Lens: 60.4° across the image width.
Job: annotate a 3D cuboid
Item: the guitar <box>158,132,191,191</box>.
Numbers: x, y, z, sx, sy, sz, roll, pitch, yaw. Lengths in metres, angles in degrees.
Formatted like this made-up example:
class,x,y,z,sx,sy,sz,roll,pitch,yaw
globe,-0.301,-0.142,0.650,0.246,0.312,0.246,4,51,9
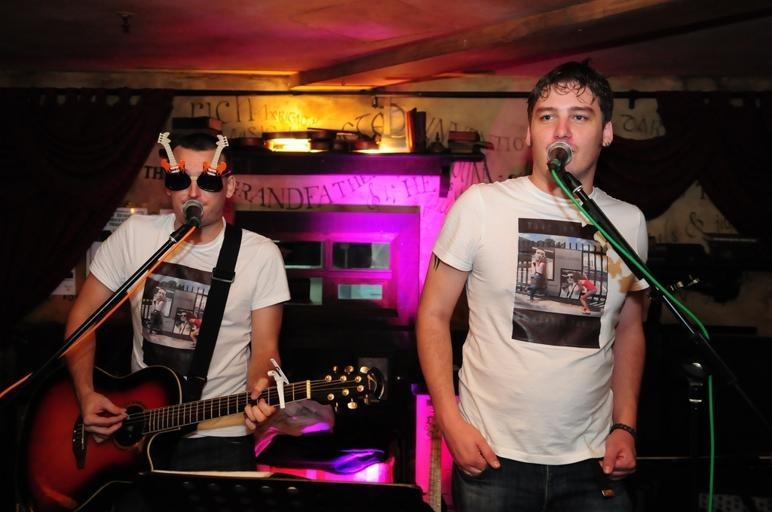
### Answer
class,x,y,z,sx,sy,sz,roll,pitch,yaw
guitar,-1.295,-0.572,4.024,0.143,0.343,0.346,-6,14,-28

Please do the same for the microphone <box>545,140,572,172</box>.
class,x,y,z,sx,sy,sz,roll,pitch,yaw
microphone,0.842,-0.490,3.232,0.136,0.138,0.151,0,30,24

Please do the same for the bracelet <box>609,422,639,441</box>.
class,x,y,z,sx,sy,sz,roll,pitch,yaw
bracelet,1.239,0.913,3.455,0.118,0.128,0.076,-13,46,36

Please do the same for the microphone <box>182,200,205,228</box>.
class,x,y,z,sx,sy,sz,roll,pitch,yaw
microphone,-1.037,-0.226,3.563,0.117,0.104,0.121,36,18,-24
